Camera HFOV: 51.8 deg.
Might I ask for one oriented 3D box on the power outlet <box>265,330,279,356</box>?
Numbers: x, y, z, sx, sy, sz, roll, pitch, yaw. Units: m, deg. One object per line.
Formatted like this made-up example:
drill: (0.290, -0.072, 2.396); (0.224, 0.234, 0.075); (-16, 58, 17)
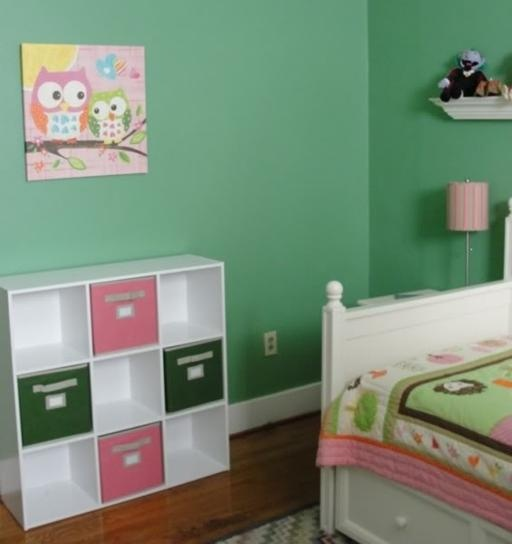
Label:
power outlet: (0.086, 0.393, 2.863); (0.110, 0.174, 0.013); (-9, 12, -43)

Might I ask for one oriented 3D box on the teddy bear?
teddy bear: (0.940, -0.900, 2.402); (0.185, 0.275, 0.196); (8, 6, -12)
